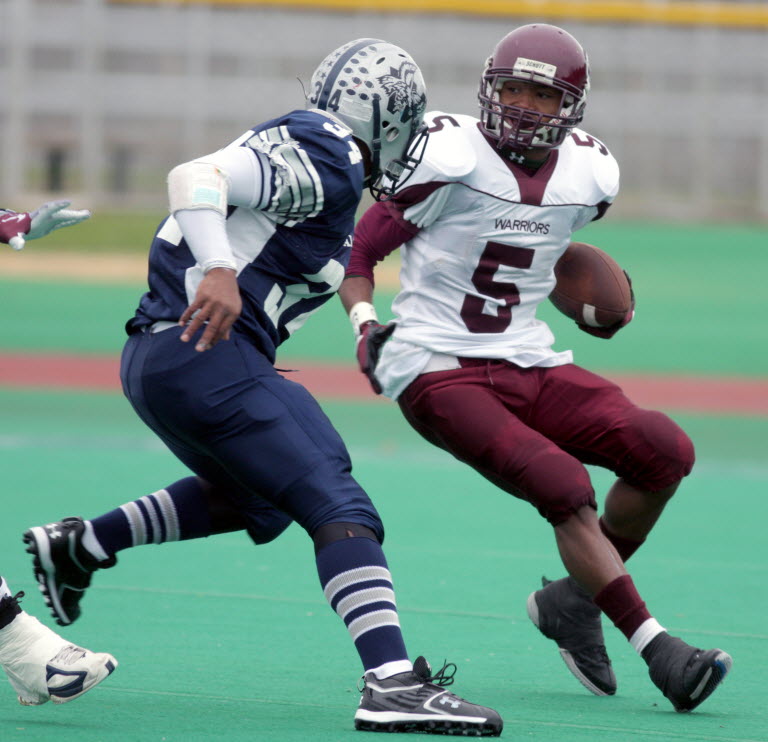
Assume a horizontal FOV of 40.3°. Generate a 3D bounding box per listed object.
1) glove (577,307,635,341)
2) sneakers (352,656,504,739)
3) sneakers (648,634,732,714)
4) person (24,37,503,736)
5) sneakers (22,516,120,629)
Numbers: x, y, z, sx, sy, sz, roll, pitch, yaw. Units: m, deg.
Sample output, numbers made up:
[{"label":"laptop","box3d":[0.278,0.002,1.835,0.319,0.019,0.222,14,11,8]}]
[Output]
[{"label":"glove","box3d":[0.715,-0.132,3.261,0.173,0.045,0.106,-14,18,4]},{"label":"sneakers","box3d":[0.161,0.744,2.348,0.451,0.159,0.122,5,-26,-2]},{"label":"sneakers","box3d":[0.735,0.753,2.567,0.087,0.187,0.193,-1,8,-27]},{"label":"person","box3d":[-0.311,0.083,2.479,0.627,1.407,1.091,-3,10,-38]},{"label":"sneakers","box3d":[-0.847,0.526,2.894,0.257,0.359,0.139,-15,22,2]}]
